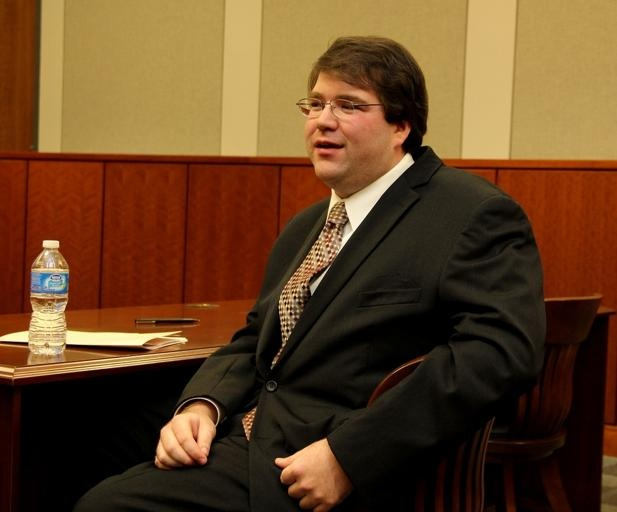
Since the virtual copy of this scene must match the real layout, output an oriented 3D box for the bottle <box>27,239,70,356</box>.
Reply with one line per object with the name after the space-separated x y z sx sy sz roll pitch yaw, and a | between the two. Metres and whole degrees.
-0.761 0.112 1.811 0.108 0.341 0.385 3 -1 -22 | bottle
